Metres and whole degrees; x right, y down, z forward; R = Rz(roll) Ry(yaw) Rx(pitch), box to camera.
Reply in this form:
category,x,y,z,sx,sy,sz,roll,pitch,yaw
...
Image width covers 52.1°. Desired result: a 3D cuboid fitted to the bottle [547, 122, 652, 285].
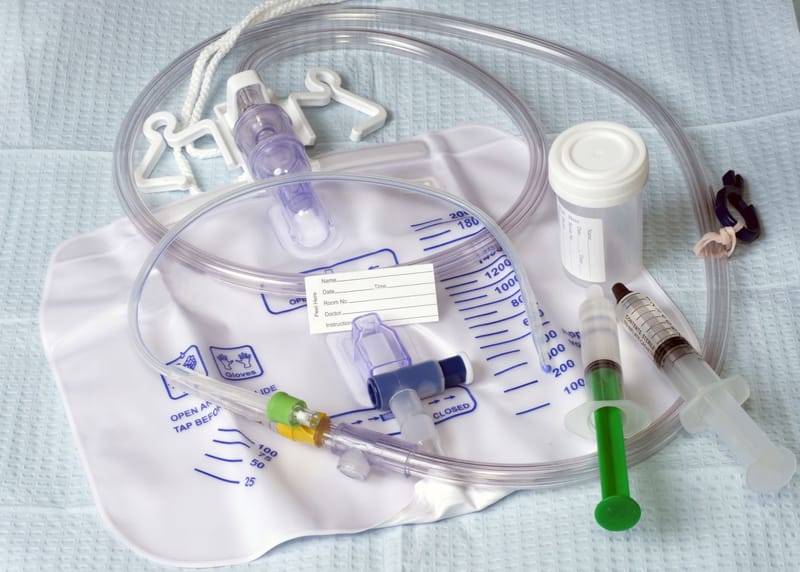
category,x,y,z,sx,sy,sz,roll,pitch,yaw
bottle,0.432,-0.167,1.770,0.233,0.366,0.235,-7,49,8
